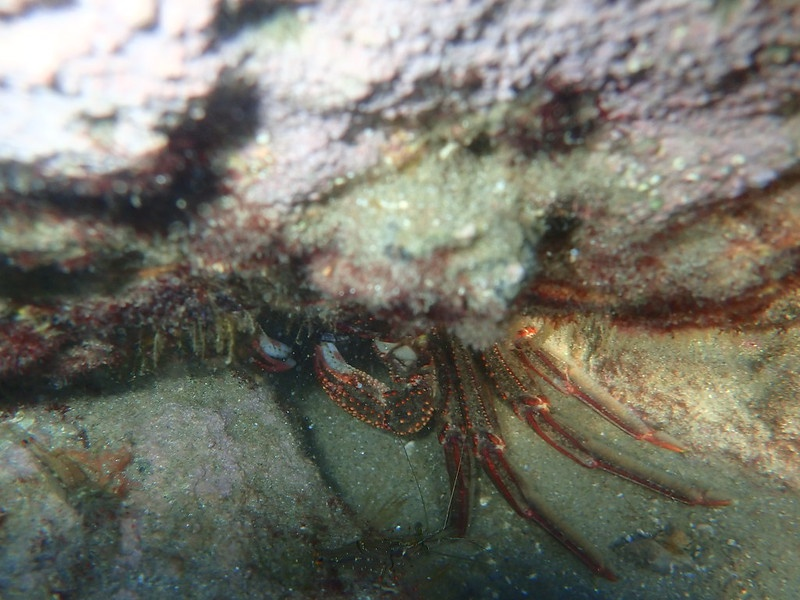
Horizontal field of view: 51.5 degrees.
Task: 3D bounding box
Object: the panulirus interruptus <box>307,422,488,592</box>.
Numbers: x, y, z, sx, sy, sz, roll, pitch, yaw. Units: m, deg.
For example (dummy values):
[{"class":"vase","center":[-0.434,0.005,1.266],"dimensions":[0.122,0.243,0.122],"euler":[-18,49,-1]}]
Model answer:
[{"class":"panulirus interruptus","center":[-0.007,1.234,4.445],"dimensions":[0.531,0.164,0.521],"euler":[-24,18,-39]}]
